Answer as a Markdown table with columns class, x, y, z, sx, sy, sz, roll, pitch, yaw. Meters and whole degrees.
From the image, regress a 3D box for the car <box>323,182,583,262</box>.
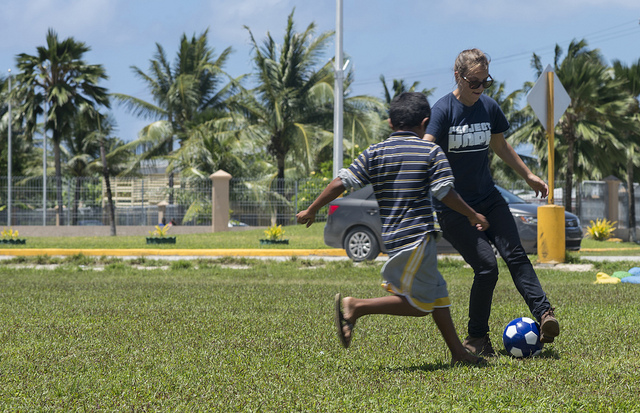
| class | x | y | z | sx | sy | sz | roll | pitch | yaw |
| --- | --- | --- | --- | --- | --- | --- | --- | --- | --- |
| car | 3.425 | 0.414 | 25.083 | 6.915 | 2.580 | 2.665 | 0 | -1 | 31 |
